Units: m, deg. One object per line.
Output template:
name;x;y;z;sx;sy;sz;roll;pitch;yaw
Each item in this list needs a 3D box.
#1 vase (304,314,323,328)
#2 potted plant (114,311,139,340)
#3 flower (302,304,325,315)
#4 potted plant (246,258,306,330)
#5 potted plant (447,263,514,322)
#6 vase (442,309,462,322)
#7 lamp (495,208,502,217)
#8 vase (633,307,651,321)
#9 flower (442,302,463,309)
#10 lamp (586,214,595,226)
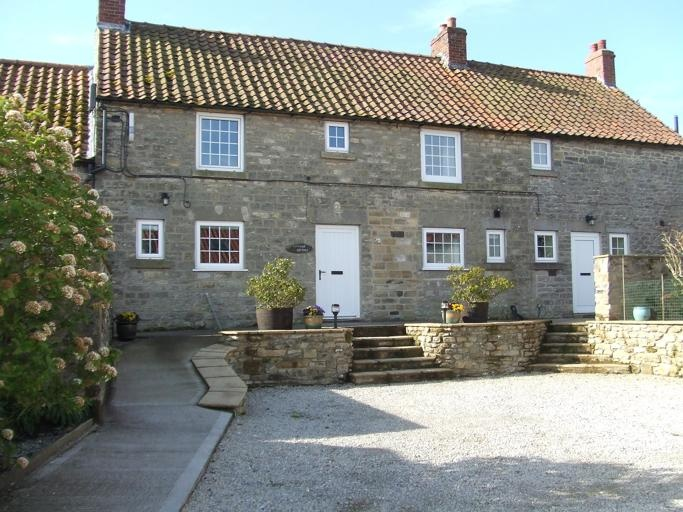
vase;-0.583;1.359;12.651;0.318;0.189;0.306;2;-4;-1
potted plant;-4.508;1.506;13.086;0.621;0.574;0.542;0;-11;-7
flower;-0.595;1.146;12.731;0.319;0.147;0.307;0;-2;-2
potted plant;-1.133;0.792;12.949;1.573;1.672;1.384;-2;-3;2
potted plant;3.104;0.872;14.417;1.778;1.536;1.326;3;-12;-8
vase;2.458;1.316;13.377;0.350;0.312;0.295;0;-1;0
lamp;4.281;-1.187;16.567;0.264;0.261;0.082;1;-1;-38
vase;6.707;1.297;13.585;0.330;0.225;0.320;7;-11;-35
flower;2.453;1.108;13.524;0.382;0.132;0.465;1;-1;-19
lamp;7.064;-1.055;17.274;0.240;0.294;0.314;1;-7;4
